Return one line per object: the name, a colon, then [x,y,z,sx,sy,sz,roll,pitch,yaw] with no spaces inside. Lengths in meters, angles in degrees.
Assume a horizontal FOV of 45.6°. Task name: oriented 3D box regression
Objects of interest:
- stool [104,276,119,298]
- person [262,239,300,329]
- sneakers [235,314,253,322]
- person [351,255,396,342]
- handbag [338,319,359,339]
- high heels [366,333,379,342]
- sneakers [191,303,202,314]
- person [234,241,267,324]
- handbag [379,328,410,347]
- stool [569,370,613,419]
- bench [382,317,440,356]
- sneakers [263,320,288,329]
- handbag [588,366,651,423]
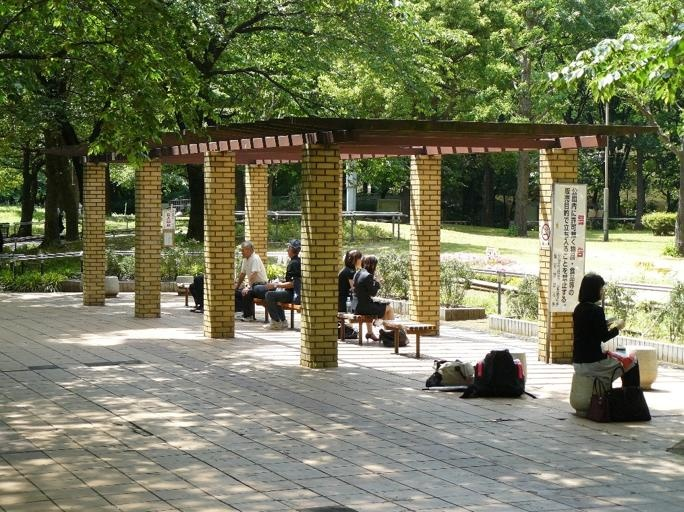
stool: [-6.375,0.866,22.438,0.609,0.517,0.580,-2,5,-24]
person: [-1.256,0.612,17.013,0.625,1.439,1.398,-1,0,-18]
sneakers: [-2.277,1.405,18.464,0.451,0.172,0.151,5,-2,-4]
person: [0.515,0.659,15.544,0.792,1.229,0.929,-1,0,-20]
handbag: [0.068,1.483,16.341,0.450,0.356,0.333,0,1,-5]
high heels: [0.572,1.622,16.155,0.266,0.119,0.134,-1,1,15]
sneakers: [-3.551,1.272,19.752,0.400,0.143,0.133,3,0,42]
person: [-2.049,0.561,18.026,0.706,1.334,1.646,-1,0,-8]
handbag: [0.972,1.560,15.573,0.553,0.435,0.396,-6,-8,16]
stool: [3.369,1.853,10.852,0.621,0.580,0.605,4,-1,-22]
bench: [1.152,1.490,14.689,0.690,0.557,1.302,-1,0,-10]
sneakers: [-1.435,1.460,17.419,0.577,0.218,0.196,2,-1,-9]
handbag: [3.559,1.811,10.556,0.786,0.655,0.280,1,-5,-10]
